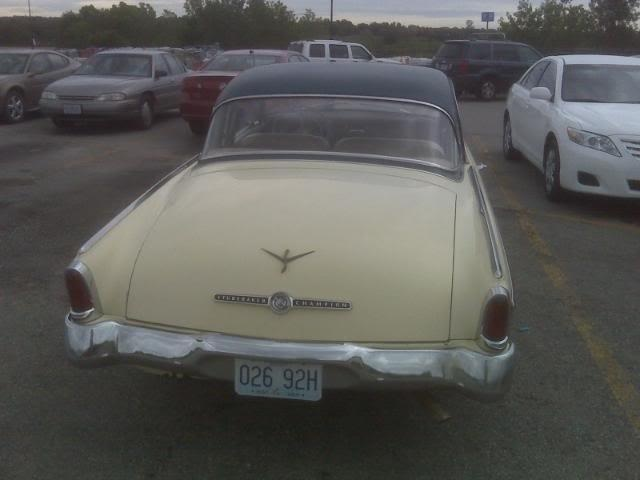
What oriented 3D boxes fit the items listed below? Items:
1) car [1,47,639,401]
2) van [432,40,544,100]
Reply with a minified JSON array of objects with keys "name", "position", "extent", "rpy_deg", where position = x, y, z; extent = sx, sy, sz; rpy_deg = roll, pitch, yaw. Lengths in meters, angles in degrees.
[{"name":"car","position":[-0.032,-0.354,3.518],"extent":[2.451,1.246,2.715],"rpy_deg":[4,28,11]},{"name":"van","position":[6.626,-7.058,20.640],"extent":[4.365,1.954,2.451],"rpy_deg":[-11,26,-15]}]
